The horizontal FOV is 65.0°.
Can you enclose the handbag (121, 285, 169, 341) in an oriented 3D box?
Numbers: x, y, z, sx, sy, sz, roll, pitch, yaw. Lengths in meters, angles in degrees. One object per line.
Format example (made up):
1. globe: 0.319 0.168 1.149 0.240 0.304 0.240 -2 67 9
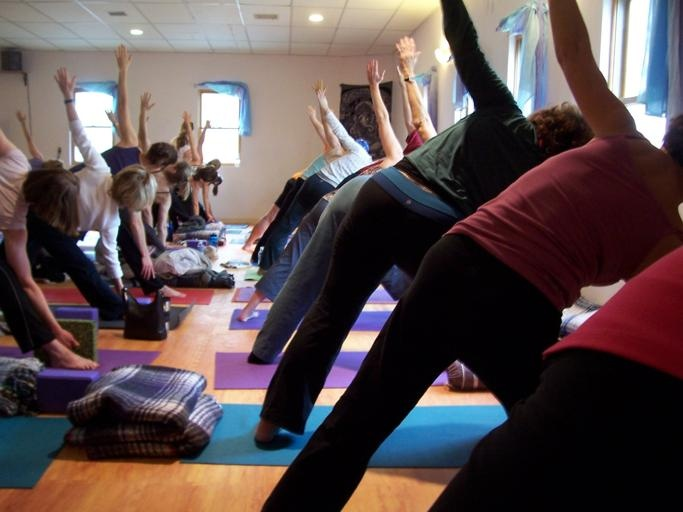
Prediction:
1. handbag: -1.322 0.388 3.634 0.318 0.368 0.147 -1 -4 2
